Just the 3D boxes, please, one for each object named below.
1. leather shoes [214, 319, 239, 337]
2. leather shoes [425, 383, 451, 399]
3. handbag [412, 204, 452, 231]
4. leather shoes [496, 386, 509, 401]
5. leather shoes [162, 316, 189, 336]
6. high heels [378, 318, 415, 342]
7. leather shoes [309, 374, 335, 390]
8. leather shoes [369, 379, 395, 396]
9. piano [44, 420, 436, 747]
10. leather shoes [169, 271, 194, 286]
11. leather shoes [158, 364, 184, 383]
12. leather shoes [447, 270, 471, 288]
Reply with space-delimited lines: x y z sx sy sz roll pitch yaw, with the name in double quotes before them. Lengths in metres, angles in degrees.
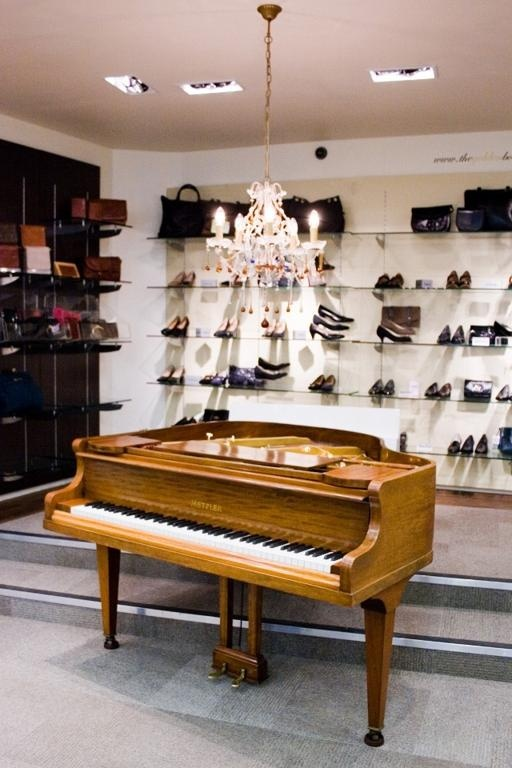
"leather shoes" -0.269 -0.532 5.715 0.139 0.078 0.224 -9 20 8
"leather shoes" 1.554 0.054 5.148 0.210 0.148 0.110 1 5 21
"handbag" 1.453 -1.375 5.023 0.305 0.219 0.088 0 5 13
"leather shoes" 2.015 0.066 4.930 0.048 0.127 0.080 0 -11 7
"leather shoes" -0.775 -0.564 5.860 0.155 0.109 0.279 5 20 23
"high heels" 1.166 -0.449 5.149 0.381 0.179 0.123 2 2 1
"leather shoes" 0.603 -0.013 5.415 0.132 0.066 0.182 -6 23 36
"leather shoes" 1.104 0.030 5.301 0.220 0.155 0.127 0 5 12
"piano" 0.062 0.447 2.075 1.411 0.884 1.052 2 2 35
"leather shoes" -0.706 -1.020 5.868 0.130 0.048 0.237 -3 26 6
"leather shoes" -0.815 -0.112 5.901 0.155 0.077 0.211 3 19 35
"leather shoes" 1.676 -0.870 5.002 0.179 0.154 0.182 1 5 24
